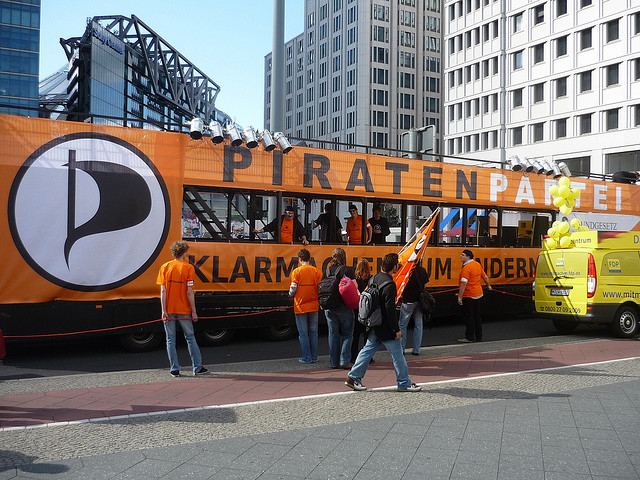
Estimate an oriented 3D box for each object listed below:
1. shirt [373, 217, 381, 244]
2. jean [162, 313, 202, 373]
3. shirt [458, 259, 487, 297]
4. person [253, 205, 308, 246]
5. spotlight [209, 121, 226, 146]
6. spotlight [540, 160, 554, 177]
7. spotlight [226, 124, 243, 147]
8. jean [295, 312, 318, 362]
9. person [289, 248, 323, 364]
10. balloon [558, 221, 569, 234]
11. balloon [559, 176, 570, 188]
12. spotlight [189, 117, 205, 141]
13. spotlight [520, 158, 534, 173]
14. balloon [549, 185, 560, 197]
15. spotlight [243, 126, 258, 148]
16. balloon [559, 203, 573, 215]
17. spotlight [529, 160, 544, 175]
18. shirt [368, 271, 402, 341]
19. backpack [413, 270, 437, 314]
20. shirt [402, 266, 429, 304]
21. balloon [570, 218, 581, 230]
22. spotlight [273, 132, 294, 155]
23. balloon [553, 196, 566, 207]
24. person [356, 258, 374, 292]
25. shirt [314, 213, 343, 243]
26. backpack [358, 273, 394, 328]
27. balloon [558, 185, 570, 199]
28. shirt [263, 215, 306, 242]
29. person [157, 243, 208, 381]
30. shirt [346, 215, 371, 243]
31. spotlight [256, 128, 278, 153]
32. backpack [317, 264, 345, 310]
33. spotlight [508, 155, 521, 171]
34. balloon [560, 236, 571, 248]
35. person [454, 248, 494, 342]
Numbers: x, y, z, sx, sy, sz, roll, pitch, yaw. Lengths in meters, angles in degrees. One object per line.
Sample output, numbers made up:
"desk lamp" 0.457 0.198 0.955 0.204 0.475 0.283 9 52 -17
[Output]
"shirt" 1.537 -0.284 16.378 0.202 0.623 0.332 0 3 4
"jean" -2.450 1.811 10.879 0.640 1.092 0.507 -1 3 -15
"shirt" 3.605 0.877 14.369 0.914 0.840 0.414 -13 10 -36
"person" -0.956 -0.344 14.659 0.873 1.074 0.411 6 -15 -17
"spotlight" -2.214 -2.315 13.025 0.278 0.494 0.647 -1 3 -11
"spotlight" 6.642 -2.143 17.833 0.356 0.357 0.470 1 3 12
"spotlight" -1.874 -2.297 13.305 0.320 0.485 0.466 -1 3 -15
"jean" -0.253 1.849 11.771 0.394 0.928 0.186 -1 3 -10
"person" -0.275 1.398 11.786 0.602 1.886 0.400 0 3 -1
"balloon" 6.216 -0.312 15.491 0.311 0.286 0.201 0 3 5
"balloon" 6.683 -1.616 16.551 0.231 0.256 0.282 -18 -42 40
"spotlight" -2.606 -2.364 12.847 0.279 0.463 0.514 -1 3 -12
"spotlight" 6.038 -2.194 17.760 0.859 0.425 0.327 -3 4 -43
"balloon" 6.412 -1.331 16.672 0.248 0.260 0.286 -5 8 -26
"spotlight" -1.537 -2.276 13.425 0.321 0.460 0.598 0 3 -7
"balloon" 6.632 -0.817 16.416 0.225 0.271 0.237 -3 38 19
"spotlight" 6.342 -2.137 17.826 0.178 0.272 0.332 7 37 -31
"shirt" 1.069 1.062 9.805 0.424 1.069 0.351 0 3 5
"backpack" 2.194 1.131 12.615 0.344 0.766 0.259 -8 13 6
"shirt" 2.046 0.884 12.835 0.810 0.837 0.462 3 0 -28
"balloon" 7.017 -0.455 16.695 0.234 0.238 0.174 -30 49 -30
"spotlight" -0.853 -2.216 13.904 0.314 0.491 0.215 -36 -24 15
"balloon" 6.497 -1.059 16.529 0.292 0.254 0.253 27 -53 -35
"person" 0.772 0.676 10.987 0.306 0.753 0.228 1 17 5
"shirt" 0.256 -0.337 15.485 0.656 0.730 1.029 0 3 -7
"backpack" 0.866 0.997 9.927 0.412 0.792 0.522 4 -3 -32
"balloon" 6.606 -1.307 16.521 0.305 0.367 0.320 -9 32 27
"shirt" -0.840 -0.278 14.463 0.583 0.332 0.152 21 -10 -12
"person" -2.472 1.199 10.770 0.749 2.303 0.460 -1 3 -17
"shirt" 0.852 -0.307 15.748 0.491 0.700 0.238 2 4 38
"spotlight" -1.209 -2.246 13.739 0.442 0.513 0.337 -1 3 -16
"backpack" 0.211 0.853 11.283 0.468 0.788 0.289 0 3 0
"spotlight" 5.485 -2.146 17.231 0.324 0.377 0.344 -18 29 32
"balloon" 6.073 0.035 15.053 0.255 0.284 0.120 2 3 33
"person" 3.825 1.339 15.167 0.712 2.588 1.527 -8 -16 38
